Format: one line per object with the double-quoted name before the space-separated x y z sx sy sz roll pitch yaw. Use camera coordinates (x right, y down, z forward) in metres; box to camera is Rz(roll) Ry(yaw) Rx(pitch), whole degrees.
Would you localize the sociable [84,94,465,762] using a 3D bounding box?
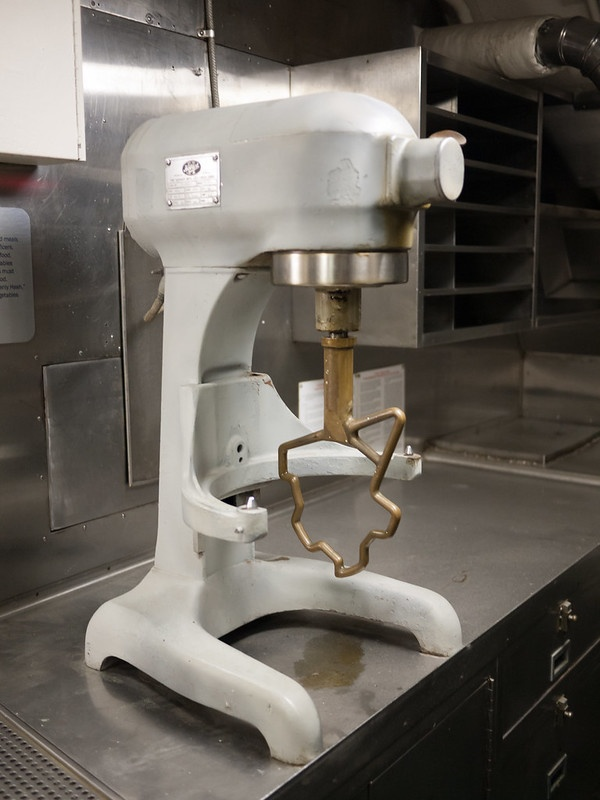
"sociable" -0.019 0.002 1.255 0.616 0.850 0.513 2 7 27
